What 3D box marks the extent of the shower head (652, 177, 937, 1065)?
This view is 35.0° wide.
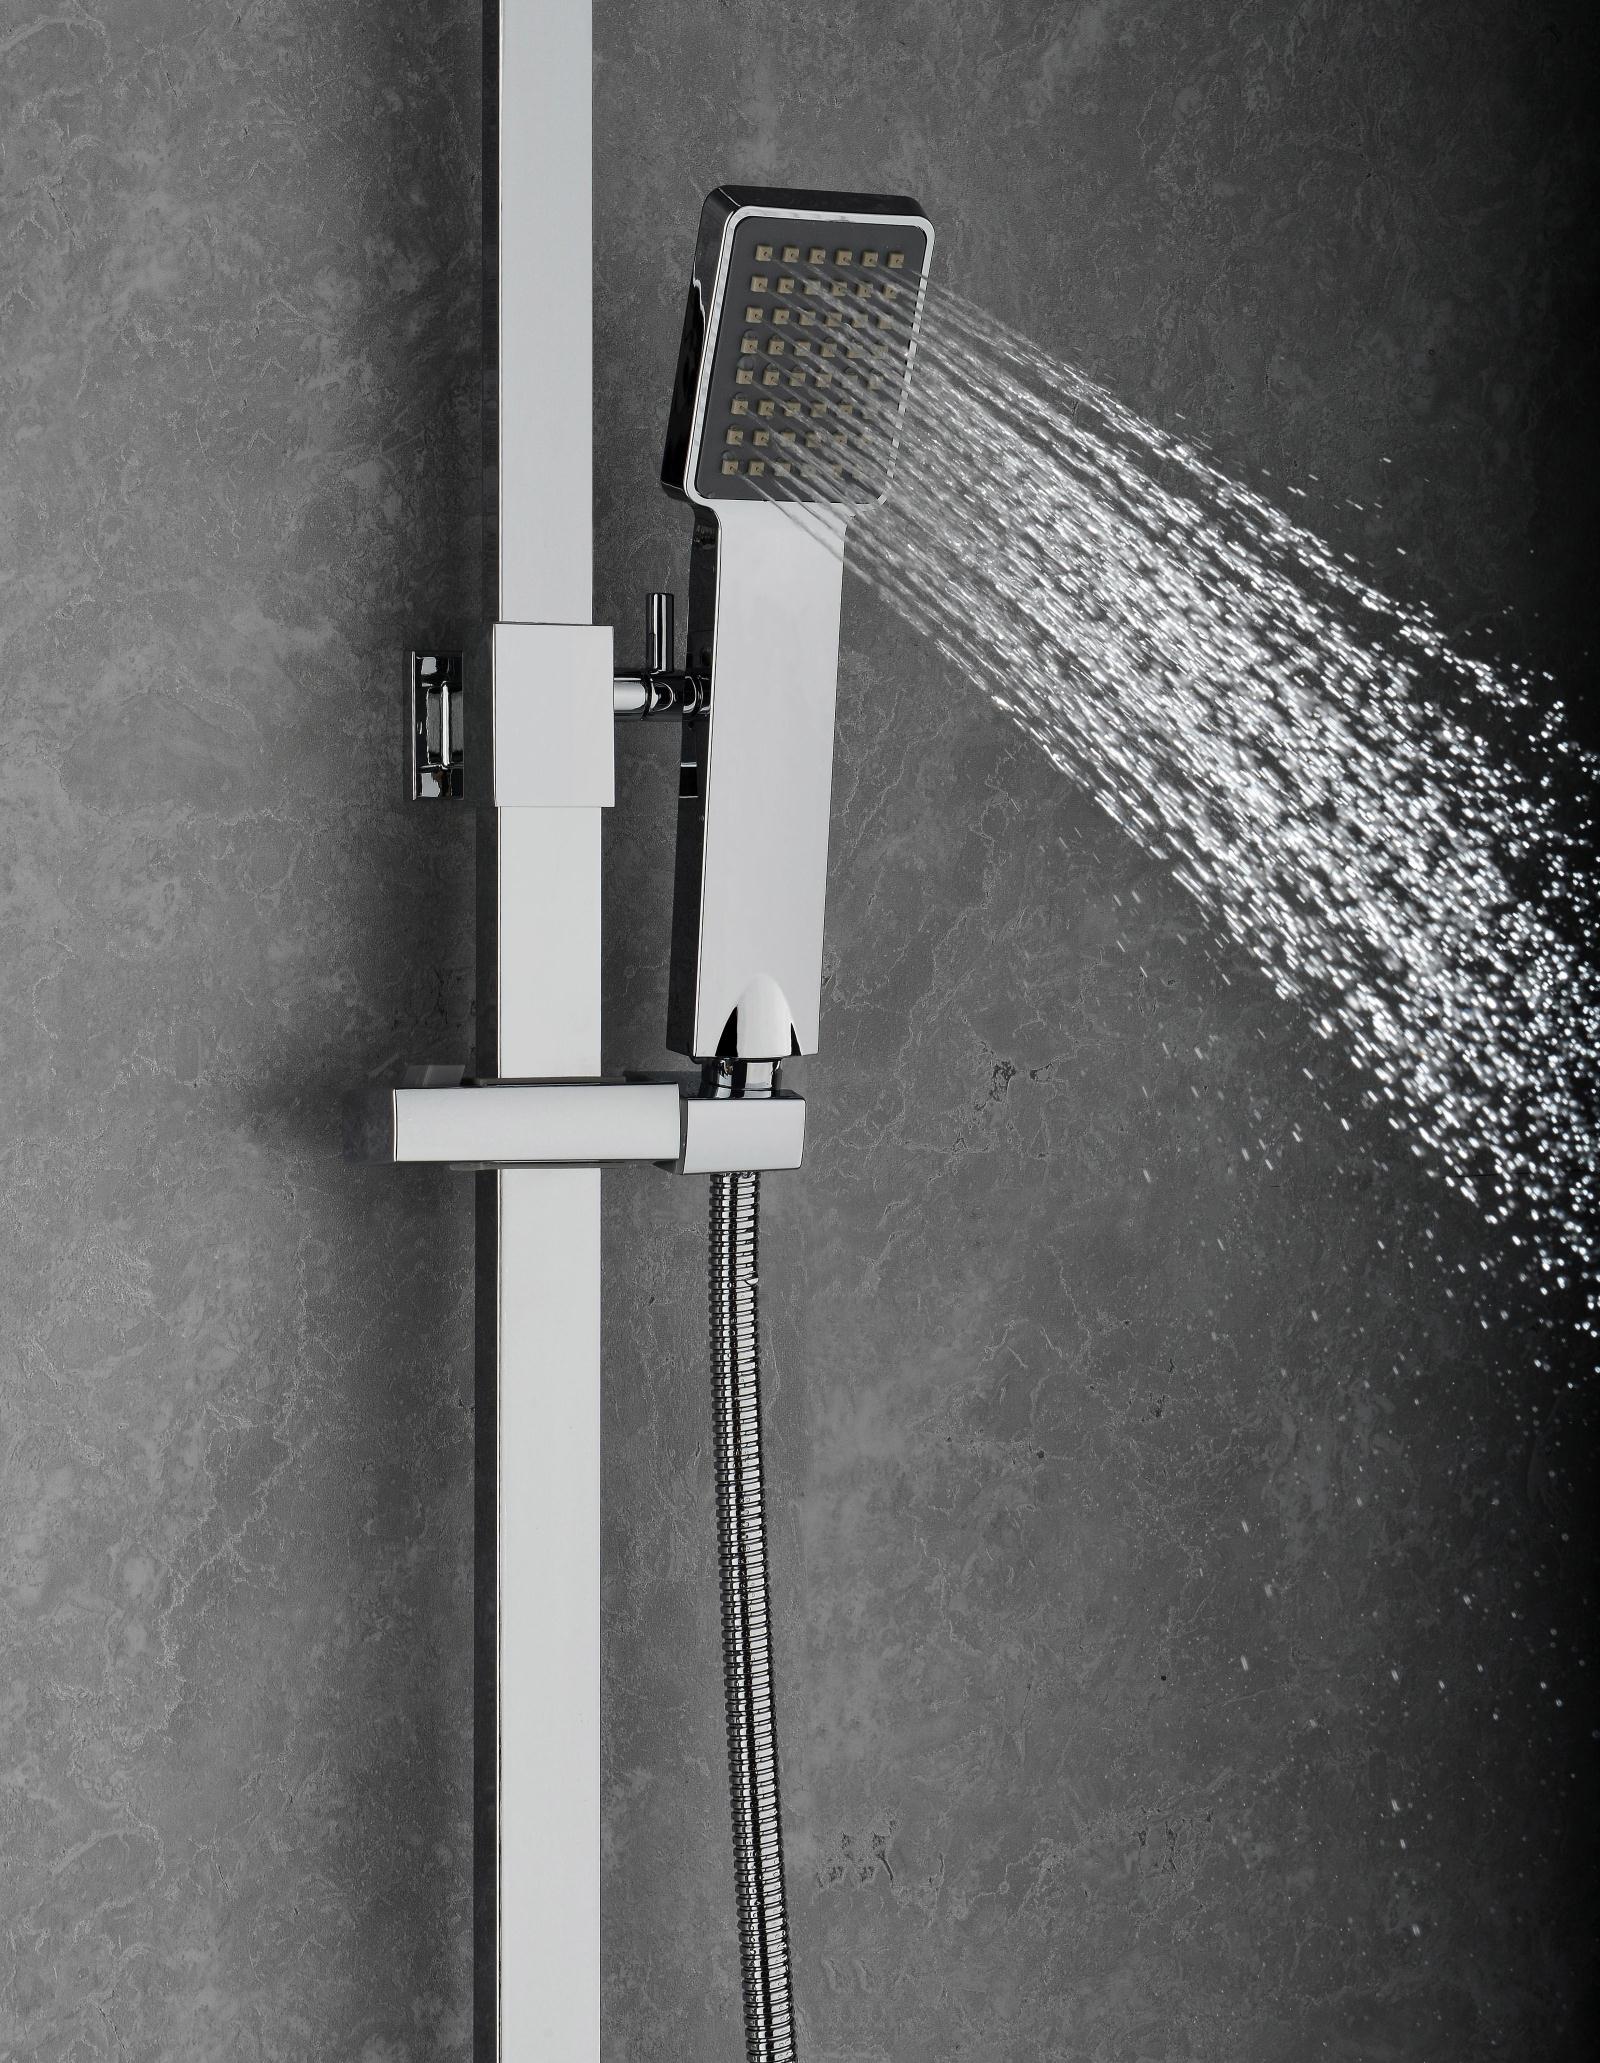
[{"bbox_3d":[-0.005,-0.119,0.790,0.061,0.305,0.068,-1,35,-8],"label":"shower head"}]
